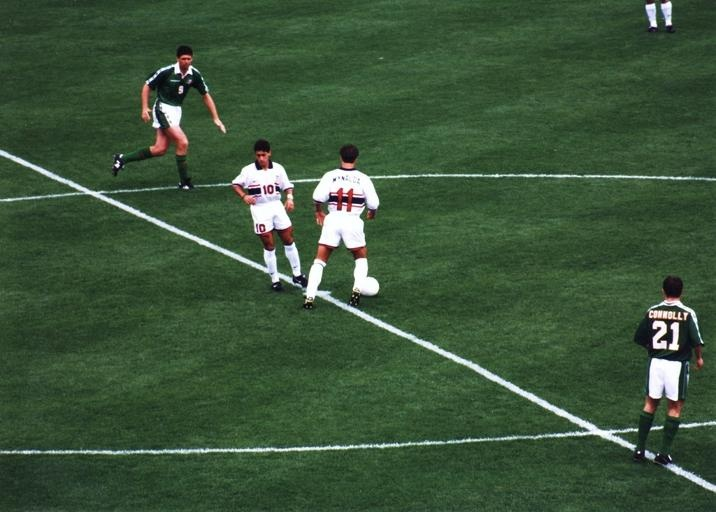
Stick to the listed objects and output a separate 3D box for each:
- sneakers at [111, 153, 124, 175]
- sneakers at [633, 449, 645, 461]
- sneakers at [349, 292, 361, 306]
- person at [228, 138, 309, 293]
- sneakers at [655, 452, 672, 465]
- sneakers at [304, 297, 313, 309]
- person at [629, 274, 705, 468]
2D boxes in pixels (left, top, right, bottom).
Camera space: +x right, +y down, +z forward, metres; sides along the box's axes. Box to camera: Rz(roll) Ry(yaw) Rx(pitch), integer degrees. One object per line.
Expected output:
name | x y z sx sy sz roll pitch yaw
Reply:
sneakers | -4.895 -1.855 30.518 0.191 0.466 0.222 20 18 -11
sneakers | 4.315 3.051 23.120 0.098 0.103 0.281 10 5 43
sneakers | -0.080 0.753 26.320 0.186 0.224 0.133 13 45 -3
person | -1.596 -0.714 26.641 1.051 2.726 0.512 -8 15 -6
sneakers | 4.619 3.087 22.986 0.160 0.083 0.222 14 8 29
sneakers | -0.888 0.823 26.285 0.204 0.162 0.154 2 3 -4
person | 4.621 1.756 22.964 1.143 2.796 0.694 -14 17 -28
